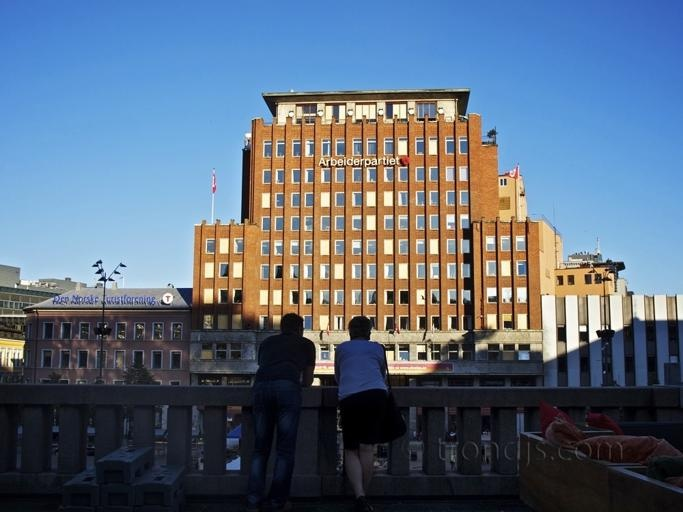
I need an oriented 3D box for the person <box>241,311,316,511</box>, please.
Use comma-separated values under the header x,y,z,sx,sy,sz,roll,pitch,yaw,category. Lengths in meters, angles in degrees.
x,y,z,sx,sy,sz,roll,pitch,yaw,category
-0.914,2.330,15.962,0.992,2.918,0.389,-1,-7,-3,person
